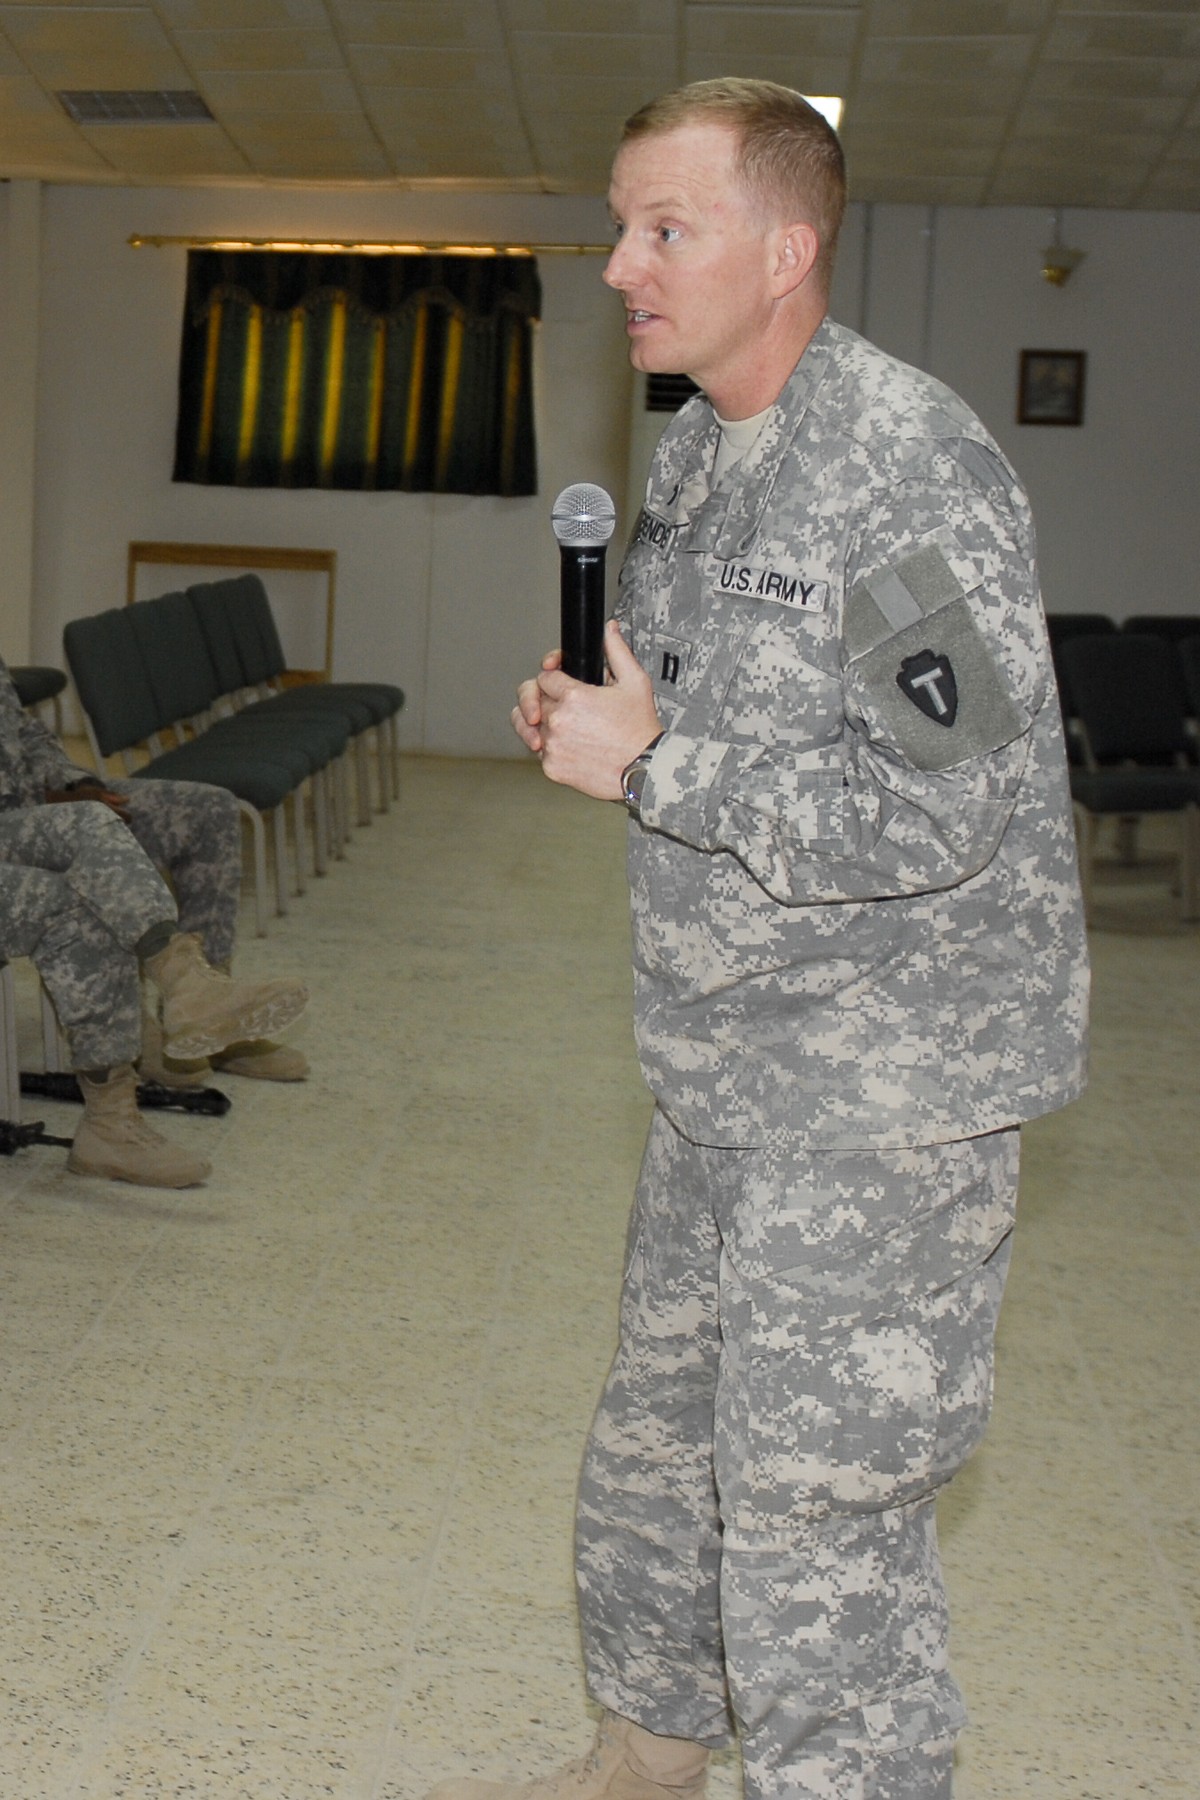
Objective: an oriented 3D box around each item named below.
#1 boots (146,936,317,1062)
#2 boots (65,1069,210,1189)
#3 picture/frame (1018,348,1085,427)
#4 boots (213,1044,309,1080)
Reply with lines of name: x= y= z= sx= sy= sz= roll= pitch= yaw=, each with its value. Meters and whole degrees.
boots: x=-0.850 y=0.211 z=3.417 sx=0.194 sy=0.277 sz=0.409 roll=-5 pitch=10 yaw=37
boots: x=-0.919 y=0.459 z=3.131 sx=0.300 sy=0.223 sz=0.120 roll=5 pitch=4 yaw=8
picture/frame: x=2.620 y=-3.009 z=9.016 sx=0.492 sy=0.486 sz=0.053 roll=0 pitch=5 yaw=4
boots: x=-0.825 y=0.372 z=3.741 sx=0.236 sy=0.070 sz=0.132 roll=6 pitch=14 yaw=10
